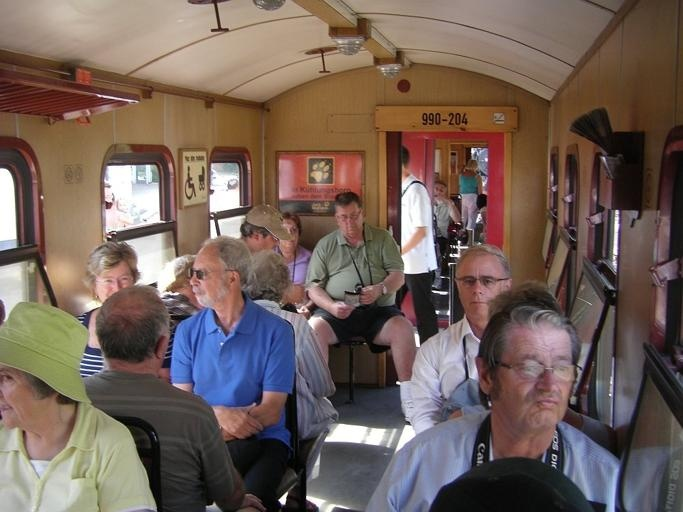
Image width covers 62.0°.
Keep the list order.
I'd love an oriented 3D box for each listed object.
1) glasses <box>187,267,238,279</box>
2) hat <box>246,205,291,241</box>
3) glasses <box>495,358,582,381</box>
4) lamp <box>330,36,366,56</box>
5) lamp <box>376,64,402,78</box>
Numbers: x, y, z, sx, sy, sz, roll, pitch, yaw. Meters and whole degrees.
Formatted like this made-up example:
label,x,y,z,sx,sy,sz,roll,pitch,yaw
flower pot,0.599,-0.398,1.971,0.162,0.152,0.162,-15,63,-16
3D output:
label,x,y,z,sx,sy,sz,roll,pitch,yaw
glasses,-0.885,0.116,3.802,0.219,0.073,0.213,2,-3,-34
hat,-0.861,-0.332,6.646,0.476,0.287,0.347,27,16,-14
glasses,0.755,0.430,2.136,0.306,0.088,0.088,-4,6,-5
lamp,0.084,-1.893,5.111,0.266,0.119,0.264,-3,7,8
lamp,0.600,-2.256,6.879,0.273,0.122,0.270,-1,7,18
